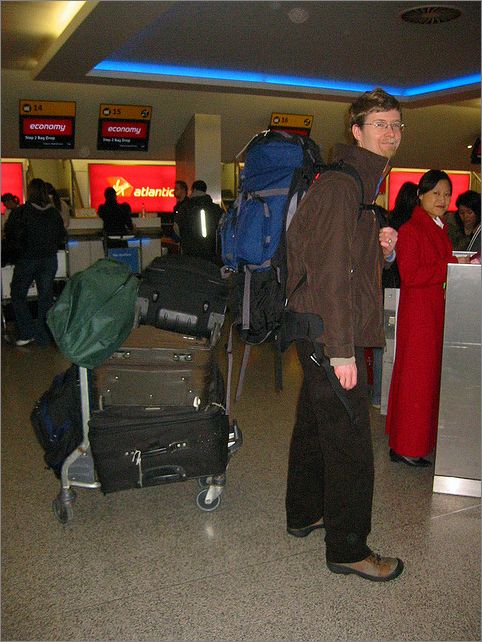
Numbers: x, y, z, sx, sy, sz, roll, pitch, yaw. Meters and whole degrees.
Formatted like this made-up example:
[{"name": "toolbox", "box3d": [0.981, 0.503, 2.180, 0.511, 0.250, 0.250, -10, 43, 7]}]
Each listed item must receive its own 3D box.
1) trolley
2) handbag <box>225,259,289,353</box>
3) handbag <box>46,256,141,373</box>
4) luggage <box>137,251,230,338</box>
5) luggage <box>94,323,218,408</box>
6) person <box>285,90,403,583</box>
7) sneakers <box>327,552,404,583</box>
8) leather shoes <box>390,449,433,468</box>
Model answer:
[{"name": "trolley", "box3d": [-0.410, 0.376, 2.093, 0.683, 0.702, 0.443, -4, 21, -7]}, {"name": "handbag", "box3d": [0.045, -0.061, 1.613, 0.172, 0.248, 0.083, 5, 5, 21]}, {"name": "handbag", "box3d": [-0.539, -0.024, 1.913, 0.284, 0.404, 0.134, 22, -9, -2]}, {"name": "luggage", "box3d": [-0.212, -0.108, 1.981, 0.371, 0.335, 0.277, 12, 36, -4]}, {"name": "luggage", "box3d": [-0.363, 0.203, 2.071, 0.436, 0.243, 0.314, 3, 2, -9]}, {"name": "person", "box3d": [0.350, 0.068, 1.623, 0.404, 1.604, 0.515, 1, 8, 5]}, {"name": "sneakers", "box3d": [0.422, 0.815, 1.730, 0.243, 0.109, 0.098, -3, 13, 5]}, {"name": "leather shoes", "box3d": [0.877, 0.712, 2.639, 0.218, 0.101, 0.074, -6, 3, 19]}]
